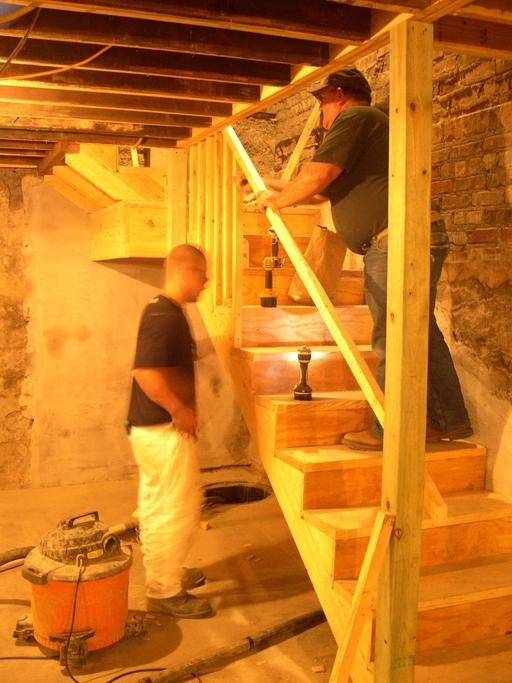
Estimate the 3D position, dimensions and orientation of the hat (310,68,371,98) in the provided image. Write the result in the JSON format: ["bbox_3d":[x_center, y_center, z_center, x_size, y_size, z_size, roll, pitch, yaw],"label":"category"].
[{"bbox_3d":[0.392,-1.190,3.144,0.246,0.111,0.160,19,25,3],"label":"hat"}]

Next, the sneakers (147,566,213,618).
[{"bbox_3d":[-0.396,1.332,3.590,0.358,0.202,0.126,-1,6,-9],"label":"sneakers"}]

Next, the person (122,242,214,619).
[{"bbox_3d":[-0.423,0.465,3.447,0.443,1.889,0.515,0,5,-10],"label":"person"}]

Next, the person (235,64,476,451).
[{"bbox_3d":[0.598,-0.378,3.174,0.913,1.793,0.707,-1,5,-22],"label":"person"}]

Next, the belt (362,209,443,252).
[{"bbox_3d":[0.708,-0.503,3.102,0.210,0.223,0.248,-1,7,1],"label":"belt"}]
